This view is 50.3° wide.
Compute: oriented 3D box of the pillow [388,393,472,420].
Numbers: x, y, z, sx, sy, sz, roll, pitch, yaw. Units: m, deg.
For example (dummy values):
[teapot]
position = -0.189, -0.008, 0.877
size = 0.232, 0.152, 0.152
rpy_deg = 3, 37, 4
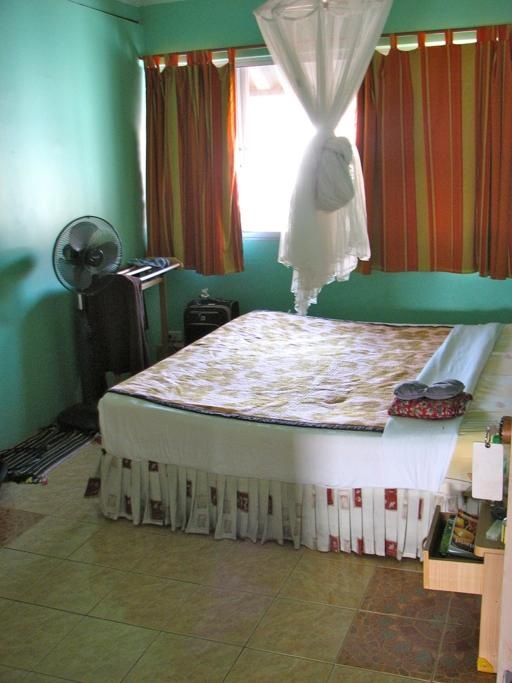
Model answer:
[pillow]
position = 0.640, 0.239, 2.018
size = 0.298, 0.069, 0.163
rpy_deg = 0, 9, 15
